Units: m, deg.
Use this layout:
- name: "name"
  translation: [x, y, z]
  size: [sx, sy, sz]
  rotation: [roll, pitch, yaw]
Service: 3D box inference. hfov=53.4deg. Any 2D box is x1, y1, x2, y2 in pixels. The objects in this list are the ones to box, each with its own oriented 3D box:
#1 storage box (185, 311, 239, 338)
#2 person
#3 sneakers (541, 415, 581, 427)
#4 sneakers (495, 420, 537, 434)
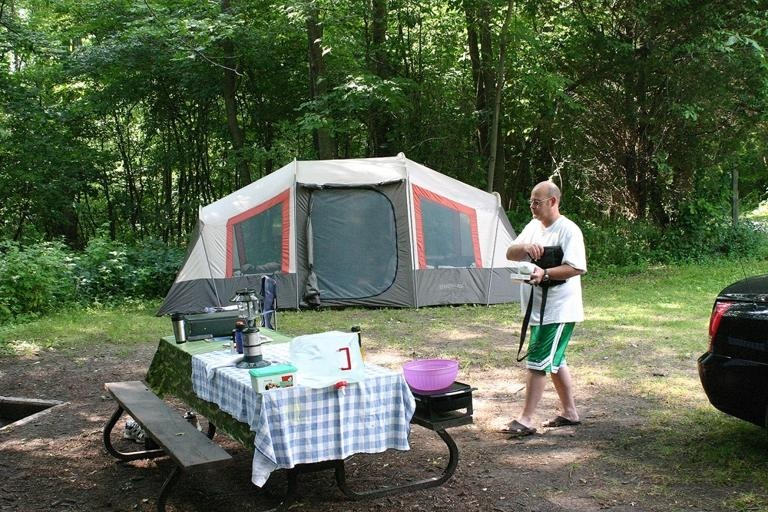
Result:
- name: "storage box"
  translation: [-2.205, 0.879, 9.770]
  size: [0.513, 0.226, 0.373]
  rotation: [-2, 2, -20]
- name: "person"
  translation: [2.107, 0.671, 9.848]
  size: [0.984, 3.254, 0.607]
  rotation: [-2, 3, 10]
- name: "sneakers"
  translation: [2.348, 2.158, 10.079]
  size: [0.473, 0.119, 0.176]
  rotation: [3, -6, -4]
- name: "sneakers"
  translation: [1.727, 2.221, 9.921]
  size: [0.436, 0.133, 0.176]
  rotation: [3, -9, -16]
